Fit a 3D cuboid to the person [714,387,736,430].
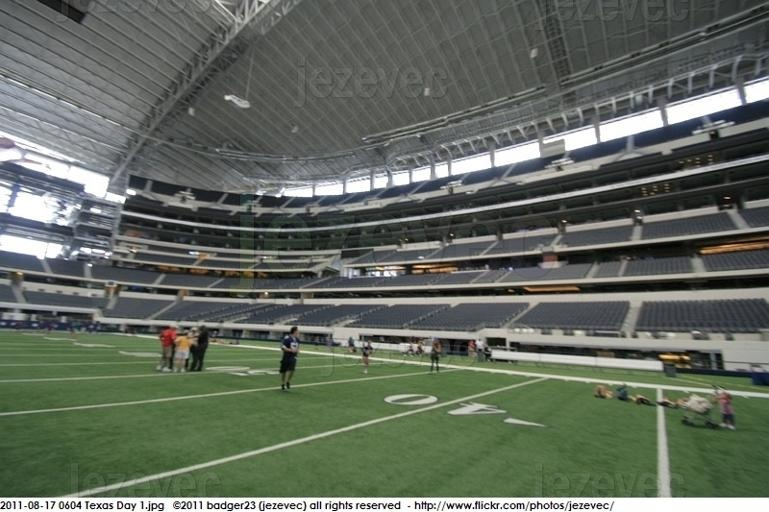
[{"bbox_3d":[16.189,7.282,21.727,0.677,1.645,1.287,-2,-16,33],"label":"person"}]
